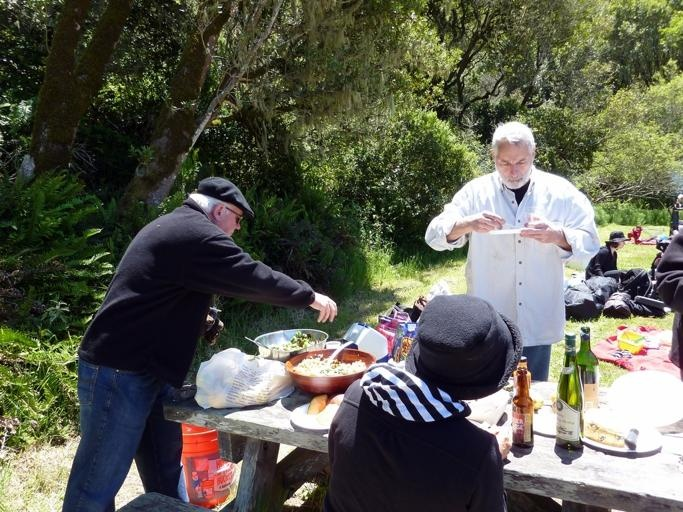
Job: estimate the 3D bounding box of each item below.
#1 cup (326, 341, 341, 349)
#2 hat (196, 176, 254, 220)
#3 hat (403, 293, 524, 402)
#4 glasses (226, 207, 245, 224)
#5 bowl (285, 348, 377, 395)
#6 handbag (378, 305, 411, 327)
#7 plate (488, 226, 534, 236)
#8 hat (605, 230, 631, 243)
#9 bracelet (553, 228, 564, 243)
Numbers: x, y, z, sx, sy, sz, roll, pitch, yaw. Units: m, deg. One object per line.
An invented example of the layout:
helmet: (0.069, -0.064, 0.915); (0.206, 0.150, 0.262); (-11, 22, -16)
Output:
cup: (-0.068, 0.676, 3.957); (0.061, 0.053, 0.051); (0, 7, 16)
hat: (-0.793, -0.375, 3.592); (0.355, 0.198, 0.259); (23, -1, -23)
hat: (0.560, 0.423, 2.411); (0.509, 0.477, 0.250); (4, 1, 8)
glasses: (-0.745, -0.280, 3.604); (0.146, 0.048, 0.148); (30, 4, 28)
bowl: (-0.089, 0.800, 3.548); (0.503, 0.186, 0.538); (-8, 9, 1)
handbag: (0.434, 0.486, 4.311); (0.215, 0.150, 0.158); (4, 0, 14)
plate: (1.284, -0.186, 3.945); (0.296, 0.070, 0.357); (5, 0, 15)
hat: (6.935, -0.472, 13.050); (0.616, 0.295, 0.711); (3, 7, 17)
bracelet: (1.588, -0.144, 3.785); (0.060, 0.090, 0.088); (-4, 43, 1)
